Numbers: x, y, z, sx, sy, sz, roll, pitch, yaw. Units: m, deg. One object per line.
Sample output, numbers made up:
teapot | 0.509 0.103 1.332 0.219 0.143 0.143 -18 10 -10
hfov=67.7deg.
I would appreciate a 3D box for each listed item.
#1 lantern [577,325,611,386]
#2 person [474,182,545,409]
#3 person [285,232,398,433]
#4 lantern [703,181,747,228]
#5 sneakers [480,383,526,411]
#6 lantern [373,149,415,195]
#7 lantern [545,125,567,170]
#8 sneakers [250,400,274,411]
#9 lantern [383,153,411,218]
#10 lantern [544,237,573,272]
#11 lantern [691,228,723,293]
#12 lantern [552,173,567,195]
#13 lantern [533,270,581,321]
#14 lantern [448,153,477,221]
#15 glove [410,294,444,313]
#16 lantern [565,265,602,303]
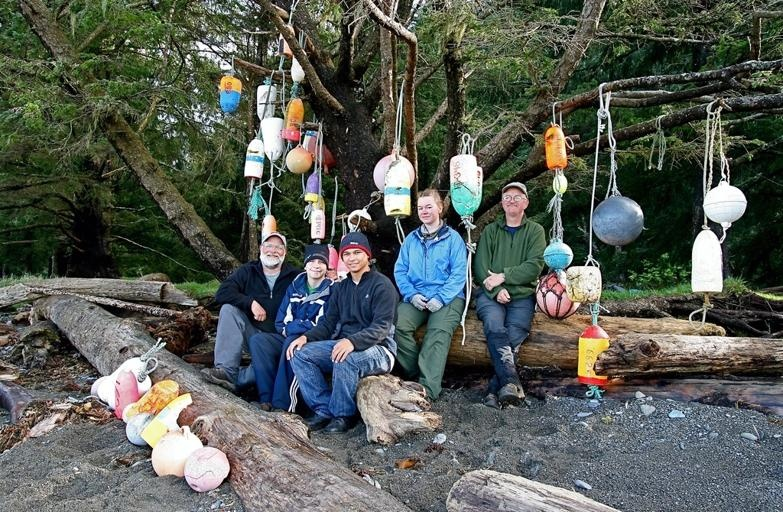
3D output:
lantern | 2.478 1.249 7.065 0.400 0.798 0.283 -12 11 -34
person | 1.473 0.325 7.559 0.933 2.524 1.429 -2 10 21
person | -0.572 0.869 7.077 1.363 2.282 0.753 -8 10 -12
lantern | 3.925 -0.655 6.972 0.531 0.599 0.534 -5 -9 24
sneakers | 1.365 1.680 7.008 0.448 0.273 0.195 -2 33 6
lantern | -0.107 -1.228 8.091 0.572 0.643 0.560 -5 -8 -17
lantern | 2.094 -1.409 7.419 0.242 0.586 0.344 -3 9 14
sneakers | -1.595 1.835 7.209 0.150 0.064 0.160 23 2 39
lantern | 0.103 -0.961 7.849 0.391 0.812 0.629 -5 9 5
lantern | 2.099 -0.033 7.456 0.393 0.433 0.401 -3 -5 44
lantern | 3.752 0.046 6.899 0.293 0.790 0.337 0 11 31
lantern | 2.141 -0.945 7.383 0.133 0.277 0.294 -2 9 22
lantern | 2.079 0.493 7.467 0.581 0.586 0.575 1 -11 2
lantern | 0.973 -0.943 7.628 0.403 0.819 0.240 -4 10 9
glove | 0.439 0.598 7.597 0.323 0.211 0.115 21 -20 38
lantern | 2.304 0.321 6.968 0.440 0.429 0.431 -1 -2 -7
